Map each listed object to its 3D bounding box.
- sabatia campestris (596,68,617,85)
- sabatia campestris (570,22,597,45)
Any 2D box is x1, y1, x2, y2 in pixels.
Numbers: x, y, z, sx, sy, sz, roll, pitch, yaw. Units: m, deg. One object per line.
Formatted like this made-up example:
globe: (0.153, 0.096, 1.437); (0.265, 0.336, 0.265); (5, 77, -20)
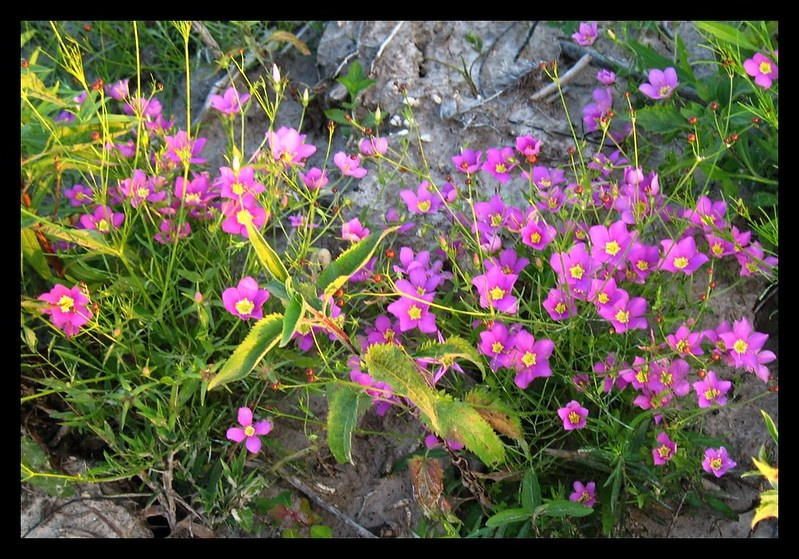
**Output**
sabatia campestris: (0.877, -0.848, 2.694); (0.073, 0.086, 0.099); (-7, 31, 25)
sabatia campestris: (0.803, -1.075, 2.758); (0.096, 0.103, 0.086); (16, 35, 9)
